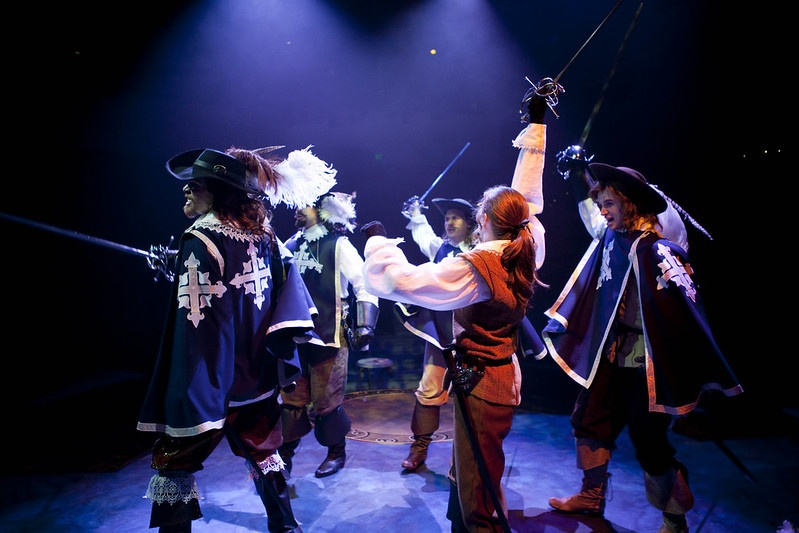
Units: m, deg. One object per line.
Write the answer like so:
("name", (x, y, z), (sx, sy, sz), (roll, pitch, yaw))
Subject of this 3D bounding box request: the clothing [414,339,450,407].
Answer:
("clothing", (0.409, 1.199, 7.135), (0.448, 0.789, 0.334), (4, 32, 2))

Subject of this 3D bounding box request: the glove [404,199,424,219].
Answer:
("glove", (0.187, -0.771, 8.198), (0.249, 0.239, 0.242), (1, -37, 6))

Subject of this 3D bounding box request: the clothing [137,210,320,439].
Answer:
("clothing", (-1.524, 0.430, 5.916), (1.344, 1.875, 1.714), (6, 9, 33))

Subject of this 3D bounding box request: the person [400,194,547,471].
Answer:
("person", (0.697, 0.643, 7.357), (1.764, 3.192, 1.075), (2, -13, 12))

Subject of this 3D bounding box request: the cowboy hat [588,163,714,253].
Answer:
("cowboy hat", (2.409, -0.636, 6.283), (1.183, 0.461, 0.801), (36, -4, -9))

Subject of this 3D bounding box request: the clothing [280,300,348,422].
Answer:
("clothing", (-0.902, 0.917, 6.931), (0.811, 1.614, 0.499), (10, 26, 13))

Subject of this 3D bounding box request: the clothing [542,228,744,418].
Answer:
("clothing", (2.353, 0.399, 6.315), (0.691, 1.779, 1.918), (-11, 15, -36))

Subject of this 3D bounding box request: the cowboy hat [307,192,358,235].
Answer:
("cowboy hat", (-0.743, -0.598, 7.331), (0.461, 0.279, 0.463), (9, -11, -13))

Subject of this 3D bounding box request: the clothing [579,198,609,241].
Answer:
("clothing", (2.054, -0.498, 6.684), (0.144, 0.403, 0.298), (-13, -5, -44))

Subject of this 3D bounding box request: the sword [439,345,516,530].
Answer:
("sword", (0.620, 1.358, 5.563), (0.354, 2.049, 0.229), (-18, -7, 14))
